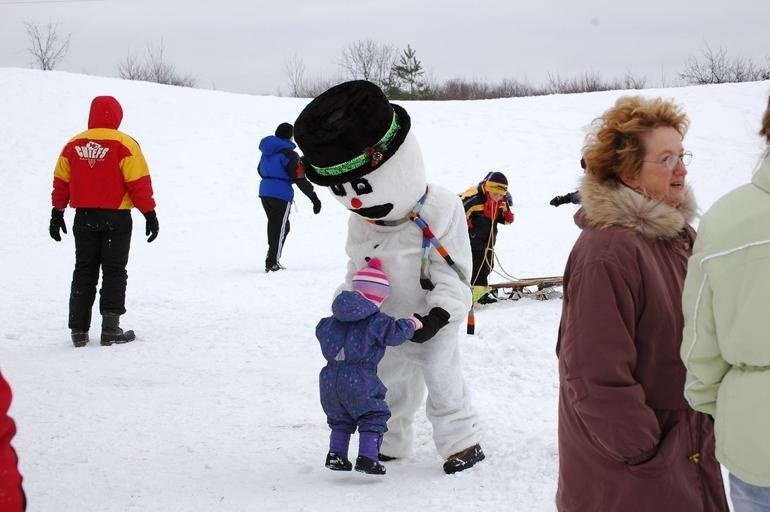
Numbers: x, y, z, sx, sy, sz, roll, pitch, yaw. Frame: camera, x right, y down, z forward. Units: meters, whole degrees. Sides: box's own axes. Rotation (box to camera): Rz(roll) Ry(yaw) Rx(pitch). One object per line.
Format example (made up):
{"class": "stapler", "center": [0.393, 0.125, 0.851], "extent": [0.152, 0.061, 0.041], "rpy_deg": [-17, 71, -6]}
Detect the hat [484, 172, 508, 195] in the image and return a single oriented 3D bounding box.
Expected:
{"class": "hat", "center": [1.256, -0.821, 9.689], "extent": [0.260, 0.236, 0.271], "rpy_deg": [1, 8, 3]}

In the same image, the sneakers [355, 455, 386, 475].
{"class": "sneakers", "center": [-0.099, 1.419, 5.810], "extent": [0.224, 0.086, 0.111], "rpy_deg": [10, -9, -39]}

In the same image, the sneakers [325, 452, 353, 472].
{"class": "sneakers", "center": [-0.311, 1.391, 5.773], "extent": [0.189, 0.116, 0.104], "rpy_deg": [5, -6, -14]}

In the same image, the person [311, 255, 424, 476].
{"class": "person", "center": [-0.121, 0.856, 5.864], "extent": [0.695, 1.194, 0.398], "rpy_deg": [0, 8, -5]}

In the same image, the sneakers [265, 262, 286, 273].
{"class": "sneakers", "center": [-1.409, 0.149, 11.000], "extent": [0.099, 0.115, 0.287], "rpy_deg": [-13, 1, -43]}

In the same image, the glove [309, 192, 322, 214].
{"class": "glove", "center": [-0.860, -0.652, 10.790], "extent": [0.180, 0.279, 0.072], "rpy_deg": [-5, 2, -11]}

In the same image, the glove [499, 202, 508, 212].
{"class": "glove", "center": [1.378, -0.571, 9.933], "extent": [0.084, 0.103, 0.081], "rpy_deg": [13, 23, 9]}

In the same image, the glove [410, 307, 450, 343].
{"class": "glove", "center": [0.319, 0.481, 5.973], "extent": [0.204, 0.271, 0.108], "rpy_deg": [44, -4, 38]}

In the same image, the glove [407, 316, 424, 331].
{"class": "glove", "center": [0.216, 0.464, 5.899], "extent": [0.090, 0.076, 0.096], "rpy_deg": [-14, 27, 13]}

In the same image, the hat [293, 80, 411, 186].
{"class": "hat", "center": [-0.261, -0.855, 5.855], "extent": [0.778, 0.362, 0.692], "rpy_deg": [-28, 37, 17]}

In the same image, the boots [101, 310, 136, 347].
{"class": "boots", "center": [-2.484, 0.665, 7.940], "extent": [0.182, 0.296, 0.431], "rpy_deg": [8, 4, 25]}

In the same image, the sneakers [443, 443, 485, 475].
{"class": "sneakers", "center": [0.567, 1.433, 6.087], "extent": [0.358, 0.128, 0.127], "rpy_deg": [-13, -9, -41]}

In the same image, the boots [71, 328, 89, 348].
{"class": "boots", "center": [-2.755, 0.737, 7.747], "extent": [0.148, 0.137, 0.220], "rpy_deg": [-2, 8, -20]}

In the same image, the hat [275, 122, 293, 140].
{"class": "hat", "center": [-1.279, -1.580, 10.882], "extent": [0.204, 0.202, 0.517], "rpy_deg": [0, 7, -9]}

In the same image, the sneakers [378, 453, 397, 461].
{"class": "sneakers", "center": [0.013, 1.476, 6.280], "extent": [0.160, 0.060, 0.051], "rpy_deg": [-2, 2, 8]}

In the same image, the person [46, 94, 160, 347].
{"class": "person", "center": [-2.602, -0.340, 7.882], "extent": [0.940, 2.243, 0.661], "rpy_deg": [0, 8, -7]}
